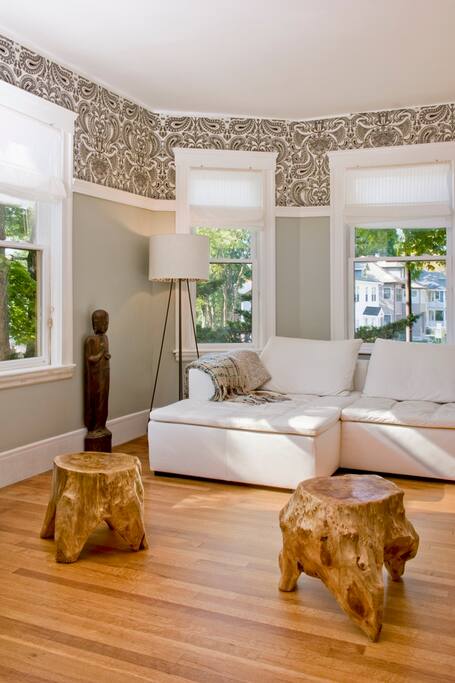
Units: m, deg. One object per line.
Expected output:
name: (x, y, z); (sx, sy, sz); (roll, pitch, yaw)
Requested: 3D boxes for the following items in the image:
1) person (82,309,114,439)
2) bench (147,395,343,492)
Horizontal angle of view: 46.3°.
person: (-0.942, 0.284, 3.846); (0.174, 0.832, 0.145); (0, 0, -13)
bench: (0.103, 0.629, 3.393); (1.103, 0.465, 0.556); (0, 0, 25)
